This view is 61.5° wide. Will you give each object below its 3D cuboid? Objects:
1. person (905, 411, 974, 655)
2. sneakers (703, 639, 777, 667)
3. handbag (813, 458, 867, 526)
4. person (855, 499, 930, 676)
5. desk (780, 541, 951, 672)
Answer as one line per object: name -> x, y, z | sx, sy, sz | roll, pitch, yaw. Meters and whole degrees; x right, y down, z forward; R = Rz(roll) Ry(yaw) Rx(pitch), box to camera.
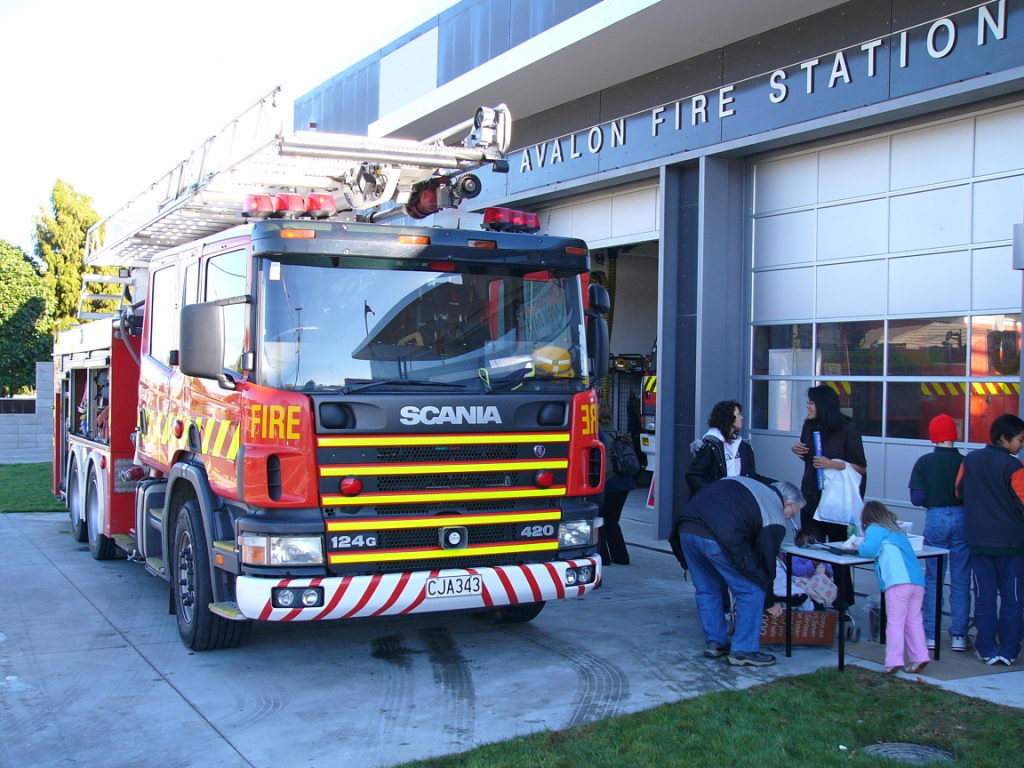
person -> 3.738, 1.265, 7.589 | 0.558, 1.964, 0.551 | 4, -8, 0
sneakers -> 1.877, 2.190, 6.986 | 0.514, 0.229, 0.204 | -1, 0, -16
handbag -> 3.256, 1.053, 8.128 | 0.294, 0.566, 0.434 | 20, -9, -10
person -> 2.972, 1.583, 6.711 | 0.510, 1.291, 0.382 | 0, 1, 24
desk -> 3.027, 1.940, 7.314 | 1.410, 1.115, 1.169 | -2, -3, 19
